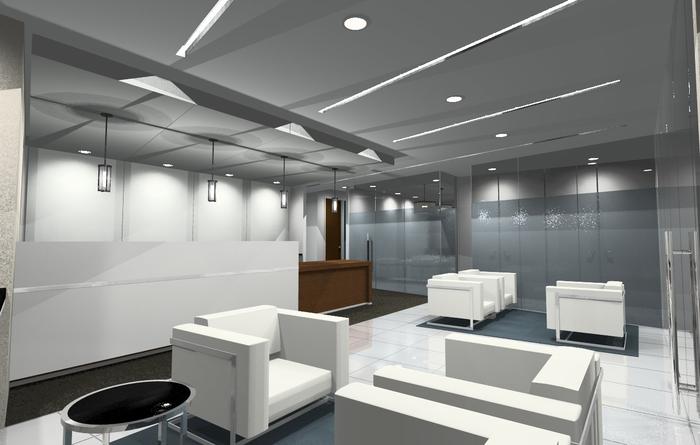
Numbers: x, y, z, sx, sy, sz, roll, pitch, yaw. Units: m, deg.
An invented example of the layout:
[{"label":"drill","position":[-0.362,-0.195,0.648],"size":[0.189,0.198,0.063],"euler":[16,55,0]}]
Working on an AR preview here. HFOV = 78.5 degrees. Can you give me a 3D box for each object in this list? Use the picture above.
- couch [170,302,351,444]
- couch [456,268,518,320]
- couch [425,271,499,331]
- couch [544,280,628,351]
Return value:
[{"label":"couch","position":[-1.080,1.716,5.197],"size":[1.553,1.217,2.002],"euler":[-1,-2,35]},{"label":"couch","position":[2.819,1.402,8.742],"size":[0.962,0.828,0.871],"euler":[-5,-8,35]},{"label":"couch","position":[2.300,1.537,8.686],"size":[1.321,0.788,1.285],"euler":[2,-2,-45]},{"label":"couch","position":[4.227,1.591,7.664],"size":[1.577,0.881,1.489],"euler":[-3,1,-20]}]
